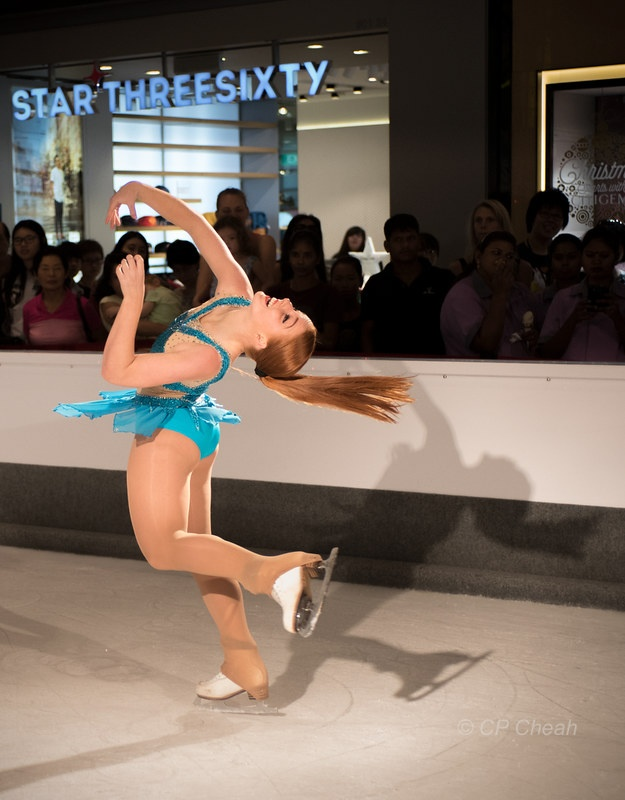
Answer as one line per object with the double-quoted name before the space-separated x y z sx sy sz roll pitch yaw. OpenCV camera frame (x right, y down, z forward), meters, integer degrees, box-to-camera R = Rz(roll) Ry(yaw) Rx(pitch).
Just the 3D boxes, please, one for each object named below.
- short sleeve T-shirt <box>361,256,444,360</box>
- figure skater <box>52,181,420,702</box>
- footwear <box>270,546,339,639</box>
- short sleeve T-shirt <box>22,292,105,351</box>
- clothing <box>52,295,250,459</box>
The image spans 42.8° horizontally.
"short sleeve T-shirt" 0.394 -0.387 3.257 0.434 0.346 0.229 1 4 4
"figure skater" -0.235 0.117 1.875 0.677 1.312 0.637 3 8 31
"footwear" 0.005 0.409 1.716 0.136 0.184 0.148 2 8 28
"short sleeve T-shirt" -1.160 -0.362 3.659 0.425 0.261 0.196 -2 13 6
"clothing" -0.350 -0.051 1.905 0.487 0.348 0.366 19 -14 -13
